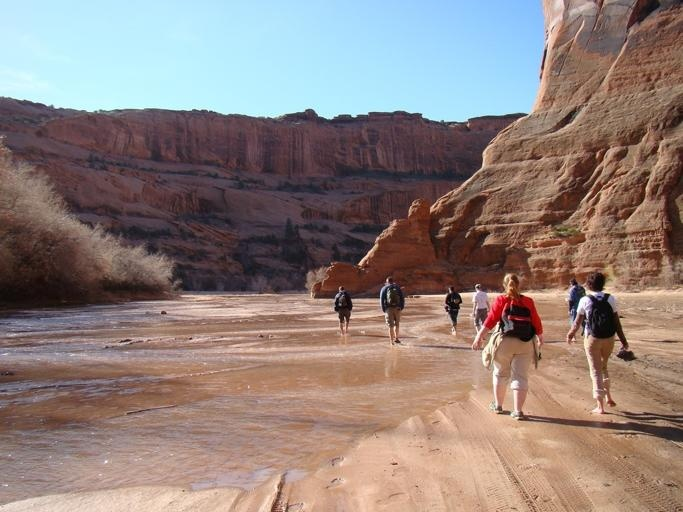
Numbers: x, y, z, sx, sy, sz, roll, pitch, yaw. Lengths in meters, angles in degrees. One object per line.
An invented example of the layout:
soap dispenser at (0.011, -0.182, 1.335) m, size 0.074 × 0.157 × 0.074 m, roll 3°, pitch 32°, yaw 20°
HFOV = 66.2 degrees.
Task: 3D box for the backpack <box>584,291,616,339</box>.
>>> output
backpack at (3.678, 0.844, 7.388) m, size 0.387 × 0.607 × 0.279 m, roll -3°, pitch -3°, yaw 16°

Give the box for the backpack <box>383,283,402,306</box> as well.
backpack at (1.366, 1.082, 14.161) m, size 0.717 × 0.722 × 0.459 m, roll -1°, pitch -18°, yaw 3°

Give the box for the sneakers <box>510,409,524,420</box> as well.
sneakers at (2.402, 2.131, 7.093) m, size 0.175 × 0.103 × 0.246 m, roll -3°, pitch -3°, yaw 16°

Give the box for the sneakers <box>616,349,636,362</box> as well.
sneakers at (4.090, 1.408, 7.427) m, size 0.283 × 0.180 × 0.104 m, roll 6°, pitch -3°, yaw 9°

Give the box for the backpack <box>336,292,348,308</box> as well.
backpack at (0.010, 1.373, 16.538) m, size 0.348 × 0.517 × 0.197 m, roll -3°, pitch -3°, yaw 16°
